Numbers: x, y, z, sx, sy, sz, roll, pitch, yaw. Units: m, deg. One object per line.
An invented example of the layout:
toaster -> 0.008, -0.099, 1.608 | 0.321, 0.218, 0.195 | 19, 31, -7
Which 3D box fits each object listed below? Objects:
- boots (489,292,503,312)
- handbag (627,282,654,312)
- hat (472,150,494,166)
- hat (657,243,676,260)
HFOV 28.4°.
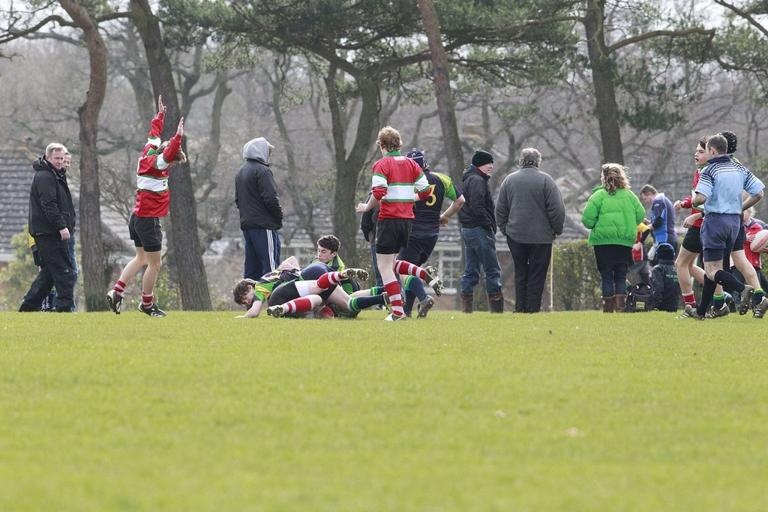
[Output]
boots -> 2.675, 1.140, 36.060 | 0.436, 0.590, 0.441 | -2, 2, 1
handbag -> 6.251, 1.081, 37.144 | 0.551, 0.679, 0.722 | 7, 0, 3
hat -> 2.314, -2.228, 35.544 | 0.454, 0.394, 0.661 | 1, -1, 2
hat -> 6.881, -0.047, 37.108 | 0.401, 0.306, 0.406 | 4, 10, 7
